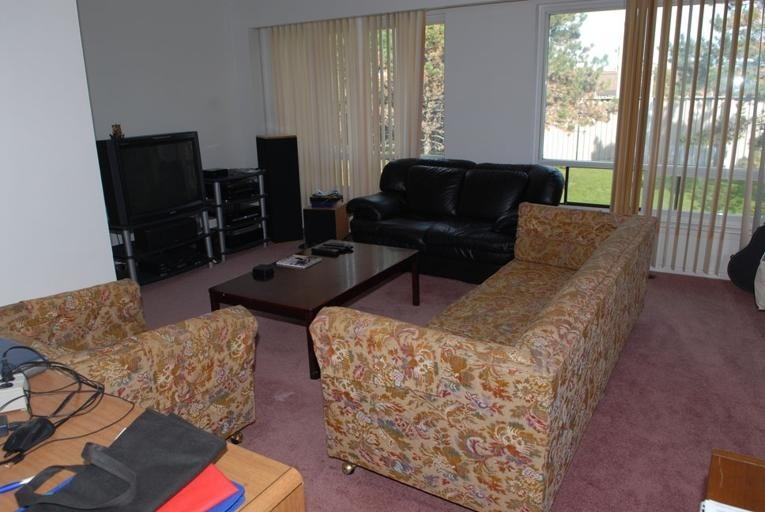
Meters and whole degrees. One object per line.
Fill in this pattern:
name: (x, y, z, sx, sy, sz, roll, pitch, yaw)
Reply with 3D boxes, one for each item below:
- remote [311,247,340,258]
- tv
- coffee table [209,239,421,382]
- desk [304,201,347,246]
remote: (-0.508, -0.031, 4.727, 0.196, 0.047, 0.110, 5, 11, 26)
tv: (-2.254, -0.738, 5.092, 0.524, 0.763, 0.925, 8, 20, 24)
coffee table: (-0.677, 0.111, 4.176, 1.074, 0.522, 1.479, 6, 16, 29)
desk: (-0.602, -0.420, 6.311, 0.506, 0.483, 0.507, 5, 15, 37)
